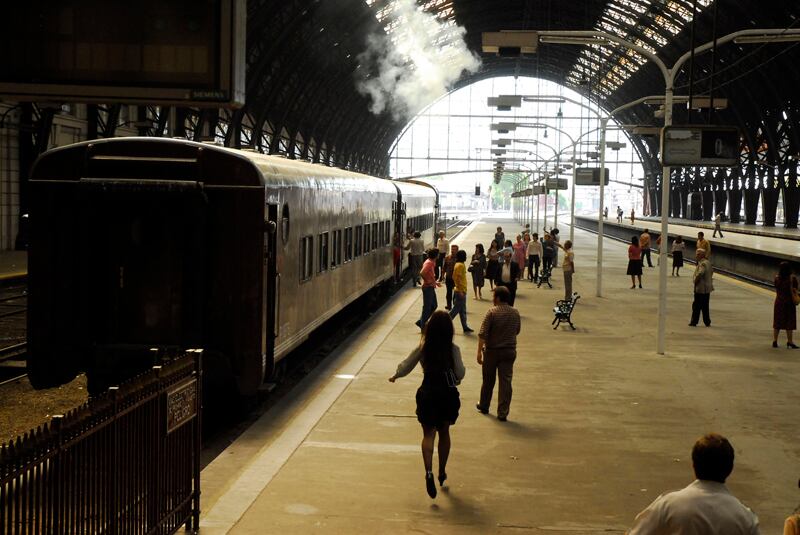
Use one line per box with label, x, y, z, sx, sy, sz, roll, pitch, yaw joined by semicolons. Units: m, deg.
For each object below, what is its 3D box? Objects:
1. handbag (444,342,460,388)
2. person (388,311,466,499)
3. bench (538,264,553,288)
handbag;0.688;1.297;9.205;0.136;0.473;0.302;4;3;-13
person;0.491;1.713;9.220;0.723;2.309;0.896;-2;6;-25
bench;6.708;0.405;32.060;0.812;1.364;0.910;0;-2;-3
